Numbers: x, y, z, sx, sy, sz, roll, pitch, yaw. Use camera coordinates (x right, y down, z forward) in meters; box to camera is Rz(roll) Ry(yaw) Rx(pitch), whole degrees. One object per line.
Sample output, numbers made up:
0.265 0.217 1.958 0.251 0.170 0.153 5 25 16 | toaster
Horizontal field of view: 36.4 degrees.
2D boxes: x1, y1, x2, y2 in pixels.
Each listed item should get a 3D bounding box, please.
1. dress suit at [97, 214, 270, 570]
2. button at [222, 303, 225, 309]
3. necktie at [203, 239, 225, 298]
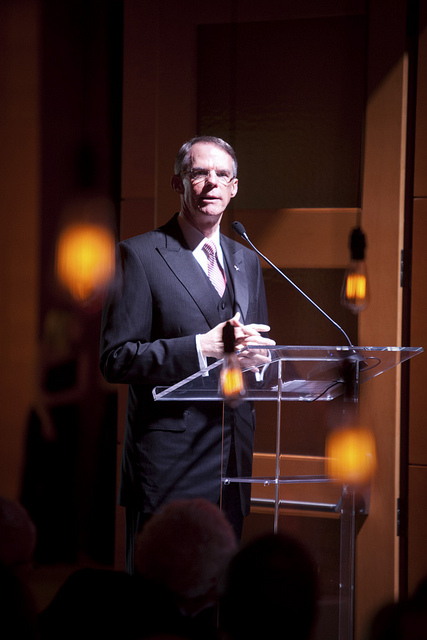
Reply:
-0.090 0.179 1.688 0.450 0.992 0.449 3 -4 3 | dress suit
0.028 -0.039 1.755 0.006 0.019 0.009 1 1 -8 | button
0.004 -0.143 1.790 0.036 0.194 0.026 -7 -14 -2 | necktie
